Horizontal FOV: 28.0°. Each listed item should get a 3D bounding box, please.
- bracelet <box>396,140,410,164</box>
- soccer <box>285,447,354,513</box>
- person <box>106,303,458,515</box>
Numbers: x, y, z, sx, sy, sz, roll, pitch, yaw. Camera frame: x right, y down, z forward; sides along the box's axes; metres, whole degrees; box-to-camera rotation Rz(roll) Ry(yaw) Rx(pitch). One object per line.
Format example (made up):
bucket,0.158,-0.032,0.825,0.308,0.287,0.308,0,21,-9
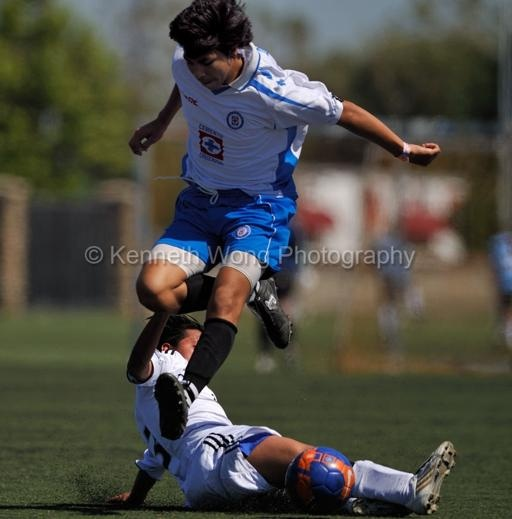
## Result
bracelet,0.751,-0.537,5.155,0.086,0.071,0.082,-22,-10,15
soccer,0.252,0.961,4.663,0.307,0.307,0.277,-1,25,0
person,0.128,0.655,4.951,1.402,0.714,1.008,2,-36,11
